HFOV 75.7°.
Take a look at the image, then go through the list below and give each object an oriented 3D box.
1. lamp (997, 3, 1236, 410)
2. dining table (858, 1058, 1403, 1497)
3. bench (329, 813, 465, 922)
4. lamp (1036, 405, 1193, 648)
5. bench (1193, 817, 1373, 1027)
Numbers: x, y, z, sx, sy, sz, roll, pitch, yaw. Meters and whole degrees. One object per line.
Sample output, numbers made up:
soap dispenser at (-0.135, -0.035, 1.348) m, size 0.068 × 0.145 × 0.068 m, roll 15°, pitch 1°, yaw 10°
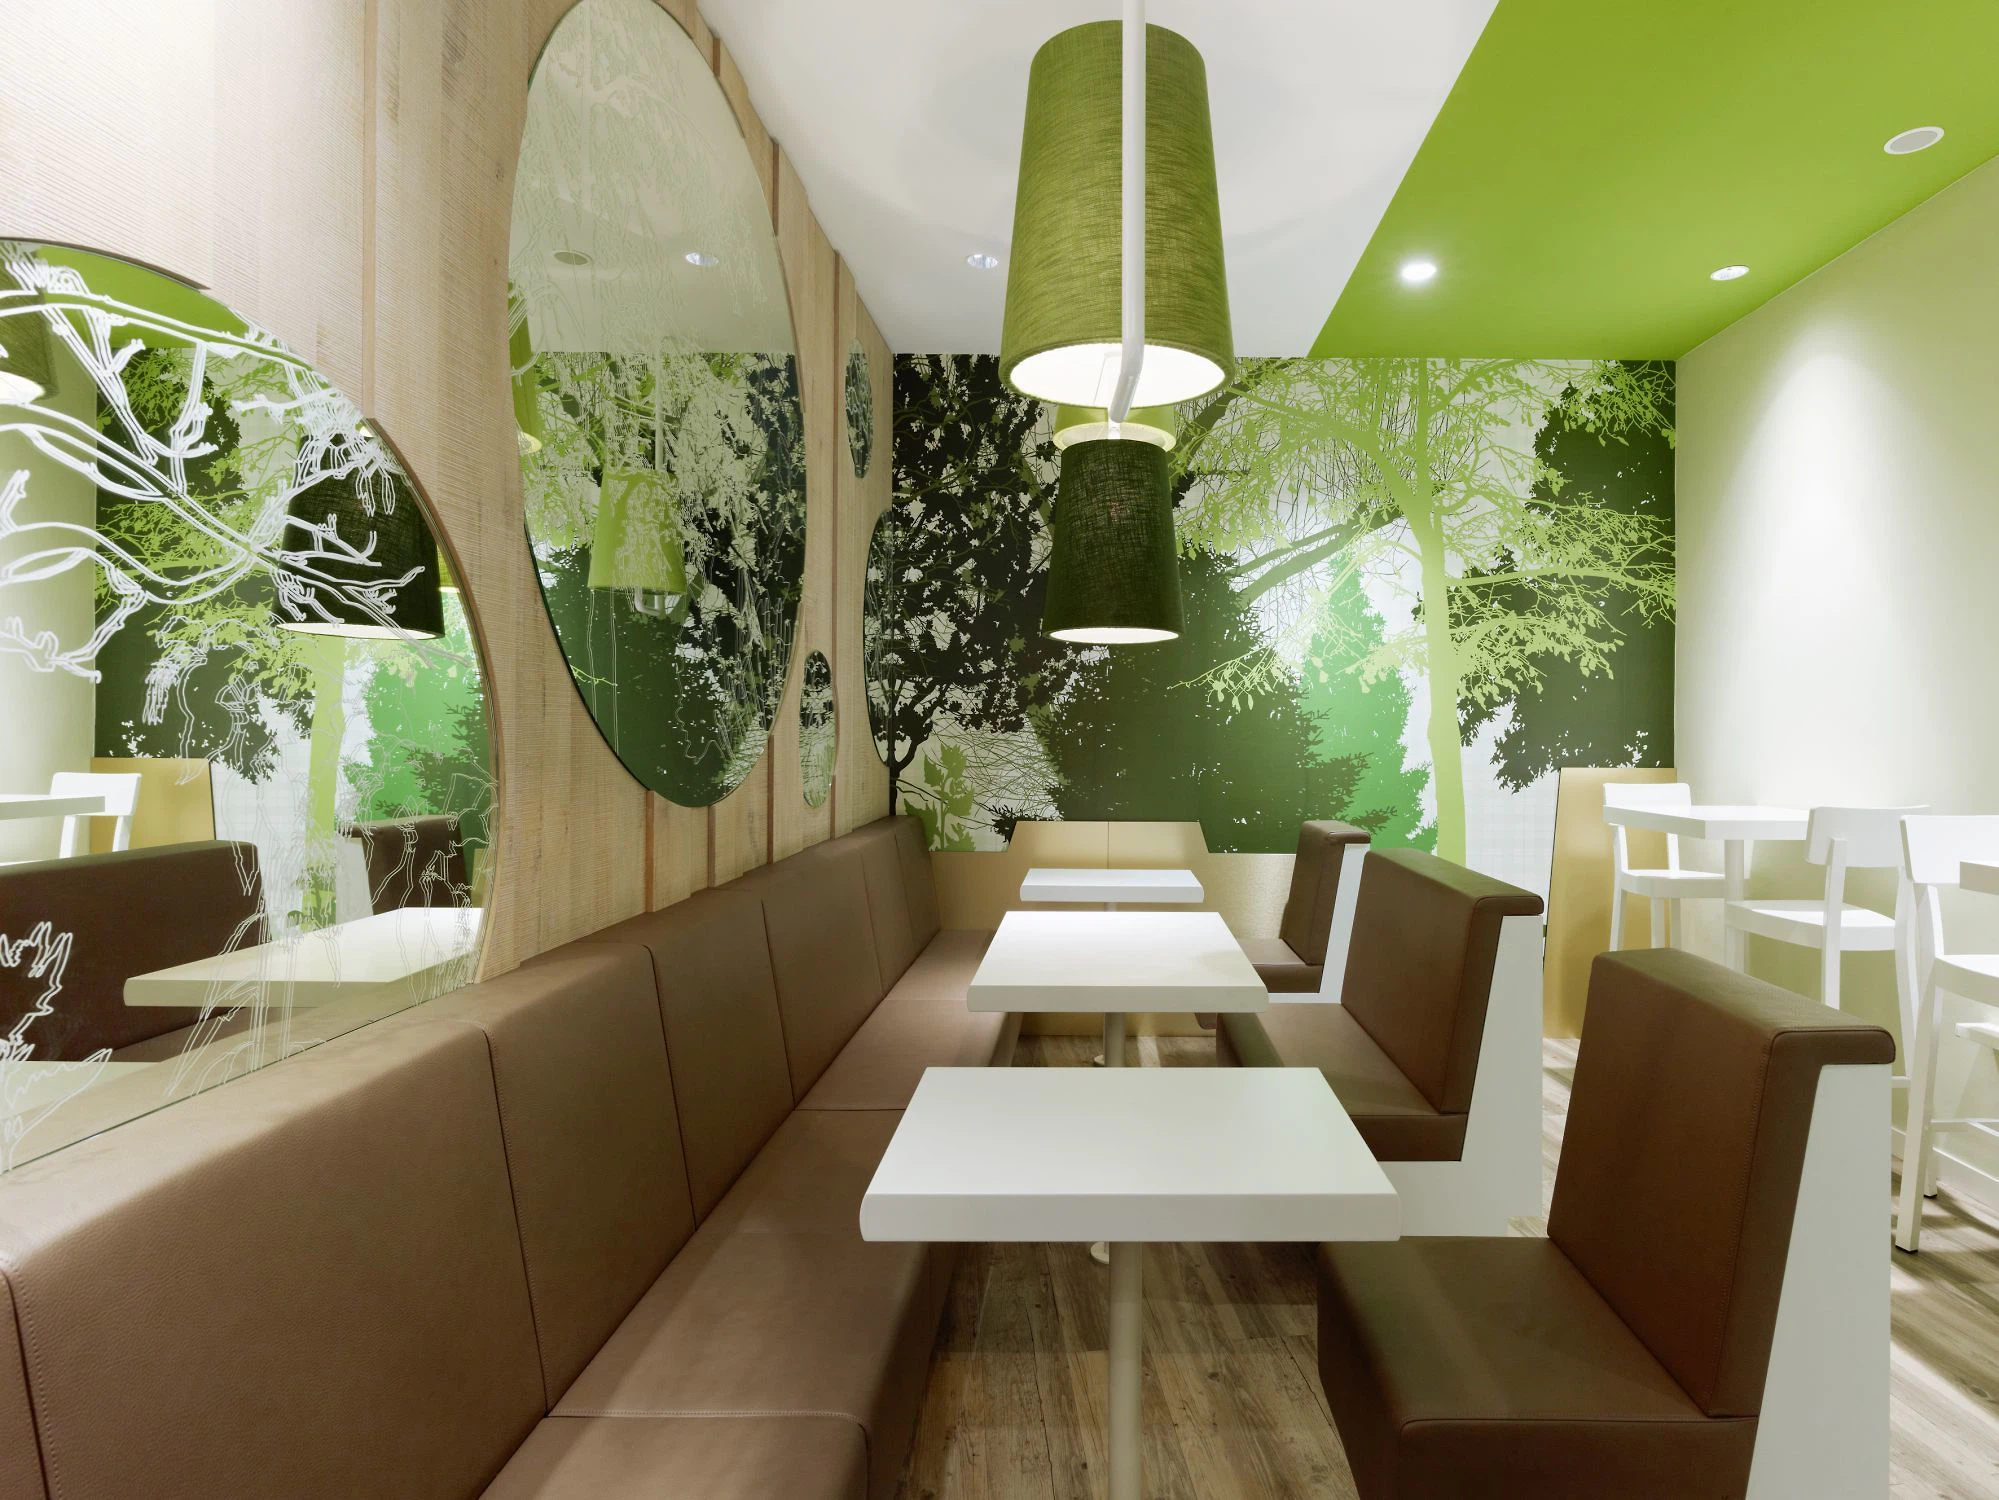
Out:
lamp at (0.185, -0.882, 2.100) m, size 0.371 × 0.709 × 0.427 m, roll 0°, pitch 5°, yaw 9°
dining table at (0.213, 0.675, 2.139) m, size 0.680 × 0.742 × 0.727 m, roll 0°, pitch -5°, yaw -1°
bench at (-0.995, 0.188, 2.142) m, size 0.099 × 0.201 × 0.195 m, roll -4°, pitch -3°, yaw 18°
lamp at (0.320, -0.638, 3.823) m, size 0.510 × 0.815 × 0.538 m, roll 1°, pitch -1°, yaw 1°
bench at (0.961, 0.568, 4.432) m, size 0.476 × 0.720 × 0.692 m, roll 1°, pitch -3°, yaw 5°
